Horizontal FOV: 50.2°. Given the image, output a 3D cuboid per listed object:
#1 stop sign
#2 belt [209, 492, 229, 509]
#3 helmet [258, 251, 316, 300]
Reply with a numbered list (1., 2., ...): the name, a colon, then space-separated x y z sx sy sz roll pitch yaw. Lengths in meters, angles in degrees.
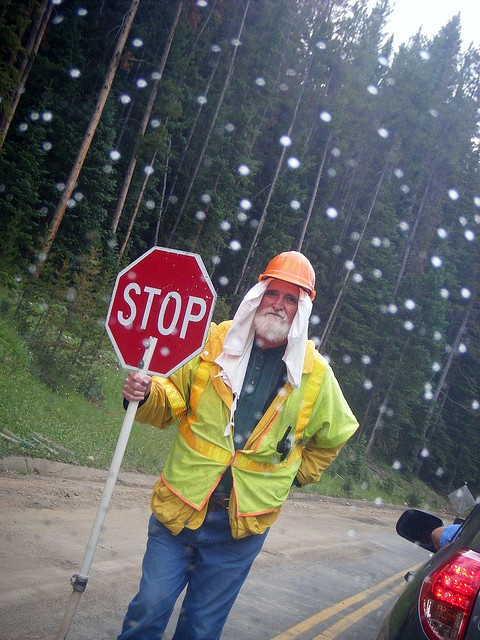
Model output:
1. stop sign: -0.331 -0.027 2.205 0.423 0.608 0.044 9 -28 -1
2. belt: -0.095 0.816 2.320 0.073 0.047 0.108 3 -7 3
3. helmet: 0.281 -0.289 2.783 0.300 0.254 0.421 16 -2 11
